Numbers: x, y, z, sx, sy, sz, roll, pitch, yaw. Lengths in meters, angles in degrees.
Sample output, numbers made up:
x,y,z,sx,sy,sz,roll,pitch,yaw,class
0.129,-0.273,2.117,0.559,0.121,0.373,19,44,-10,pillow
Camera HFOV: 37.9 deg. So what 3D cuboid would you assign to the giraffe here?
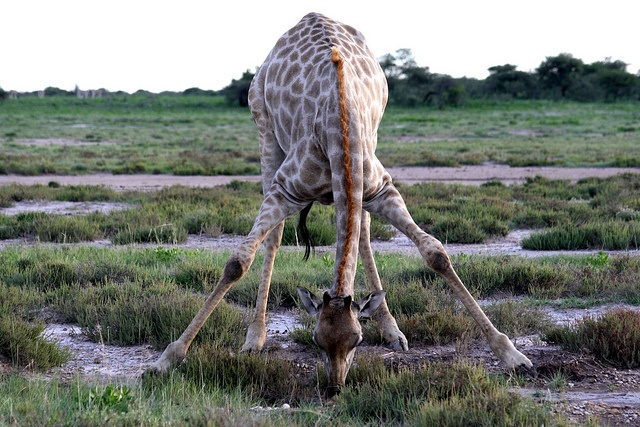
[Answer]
x,y,z,sx,sy,sz,roll,pitch,yaw,class
0.338,-0.496,21.076,6.124,8.046,3.583,3,7,10,giraffe
